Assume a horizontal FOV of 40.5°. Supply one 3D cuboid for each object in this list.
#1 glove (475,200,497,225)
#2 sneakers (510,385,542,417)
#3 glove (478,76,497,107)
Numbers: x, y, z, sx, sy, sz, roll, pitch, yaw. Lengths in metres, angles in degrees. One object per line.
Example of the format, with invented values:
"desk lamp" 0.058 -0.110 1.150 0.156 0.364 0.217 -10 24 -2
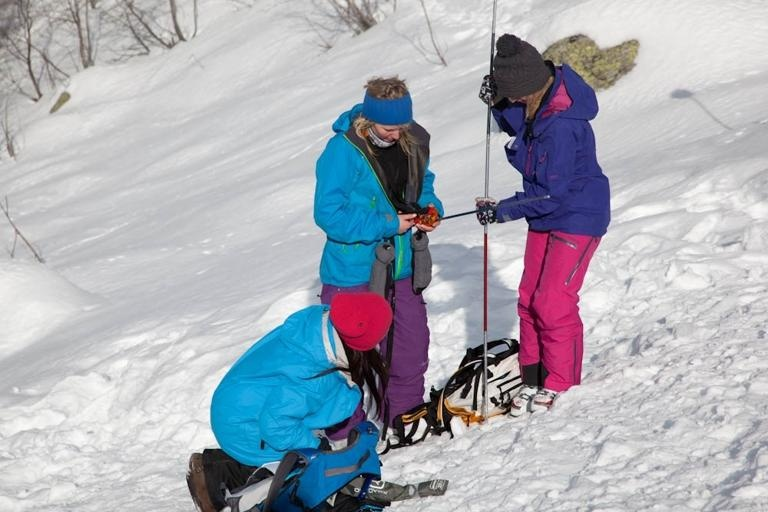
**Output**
"glove" 1.286 -0.537 13.207 0.308 0.268 0.084 2 2 17
"sneakers" 1.767 1.838 13.293 0.270 0.183 0.431 14 62 46
"glove" 1.324 -2.078 13.348 0.265 0.383 0.109 7 22 5
